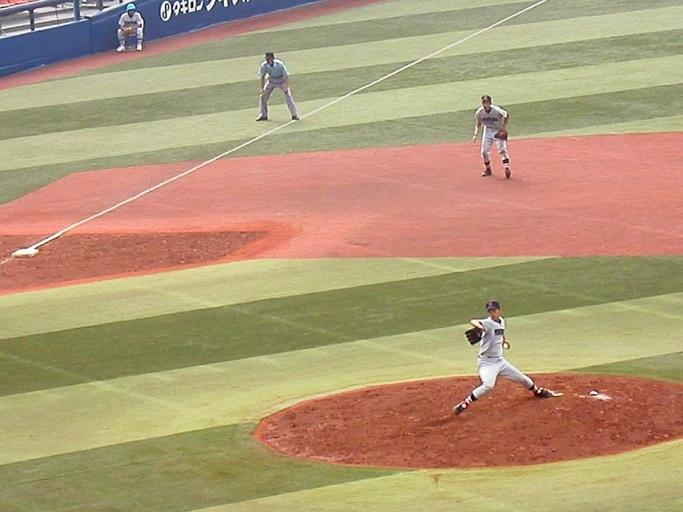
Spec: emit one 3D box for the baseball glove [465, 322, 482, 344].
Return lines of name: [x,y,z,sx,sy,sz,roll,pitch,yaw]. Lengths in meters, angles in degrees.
baseball glove: [2.007,1.187,17.915,0.255,0.278,0.358,-7,13,6]

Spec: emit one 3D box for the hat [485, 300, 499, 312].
hat: [2.307,0.774,18.194,0.199,0.091,0.241,-13,-9,18]

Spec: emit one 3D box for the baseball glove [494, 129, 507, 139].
baseball glove: [3.565,-2.702,26.517,0.281,0.240,0.265,-10,14,-12]

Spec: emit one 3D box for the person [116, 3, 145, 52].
person: [-7.243,-7.751,40.424,1.085,1.615,1.040,-11,16,-6]

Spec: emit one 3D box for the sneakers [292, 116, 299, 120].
sneakers: [-1.254,-3.773,32.554,0.212,0.052,0.134,1,5,25]
